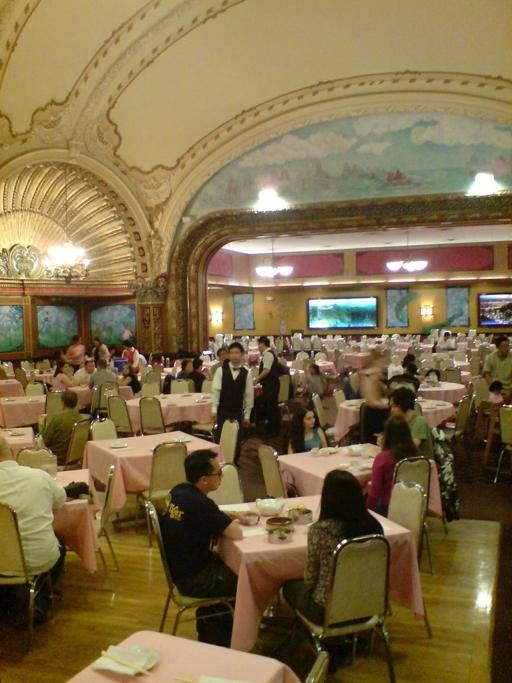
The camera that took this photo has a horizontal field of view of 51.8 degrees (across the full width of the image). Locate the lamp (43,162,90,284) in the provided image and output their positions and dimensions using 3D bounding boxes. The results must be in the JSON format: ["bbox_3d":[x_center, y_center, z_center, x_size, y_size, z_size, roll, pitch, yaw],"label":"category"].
[{"bbox_3d":[-4.915,-2.987,13.690,1.165,2.922,2.353,-2,2,-18],"label":"lamp"}]

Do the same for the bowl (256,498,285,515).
[{"bbox_3d":[0.090,0.989,3.146,0.164,0.078,0.214,-1,1,3],"label":"bowl"}]

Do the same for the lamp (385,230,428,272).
[{"bbox_3d":[6.296,-3.664,21.594,1.503,1.560,0.836,1,2,4],"label":"lamp"}]

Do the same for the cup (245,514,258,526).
[{"bbox_3d":[-0.016,0.989,2.924,0.059,0.039,0.058,-2,-6,0],"label":"cup"}]

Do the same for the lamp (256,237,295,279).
[{"bbox_3d":[0.844,-3.533,22.822,1.683,2.449,1.560,1,2,-9],"label":"lamp"}]
